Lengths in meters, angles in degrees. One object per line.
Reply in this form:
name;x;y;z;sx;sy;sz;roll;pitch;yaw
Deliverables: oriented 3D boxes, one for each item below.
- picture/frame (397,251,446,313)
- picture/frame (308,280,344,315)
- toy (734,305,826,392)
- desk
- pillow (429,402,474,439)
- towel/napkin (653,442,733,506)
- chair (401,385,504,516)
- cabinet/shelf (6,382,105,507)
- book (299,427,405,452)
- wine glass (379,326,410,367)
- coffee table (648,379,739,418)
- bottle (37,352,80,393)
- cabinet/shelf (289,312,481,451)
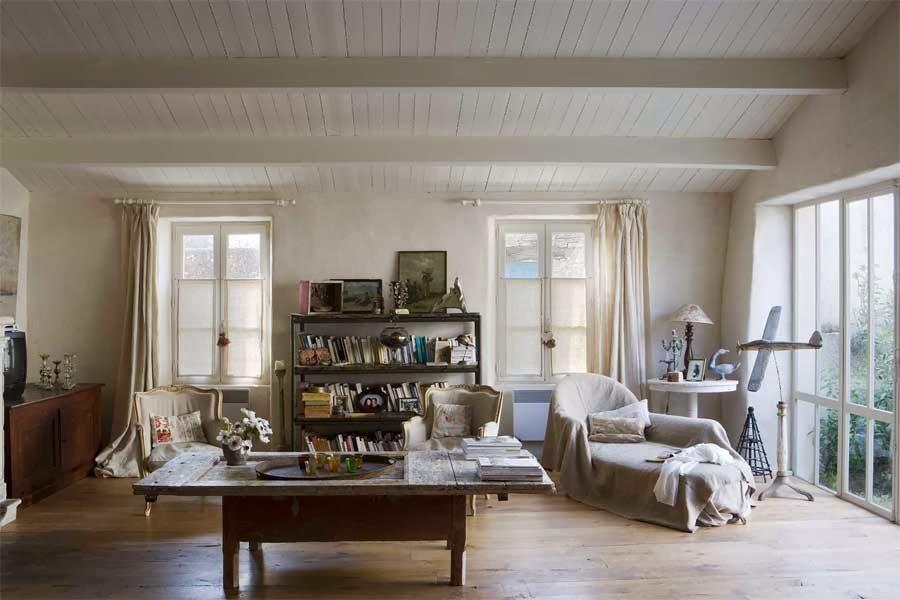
picture/frame;-0.350;-0.187;8.158;0.797;0.947;0.070;1;3;-2
picture/frame;-1.415;0.028;8.124;0.510;0.452;0.339;1;-6;-9
toy;3.549;0.529;7.492;0.900;1.163;0.346;1;-40;38
desk;-0.902;1.786;5.686;2.972;0.852;0.794;0;12;-2
pillow;0.018;1.255;7.121;0.360;0.294;0.126;1;-24;1
towel/napkin;2.237;1.620;6.524;0.806;0.462;0.348;-6;13;-27
chair;0.023;1.487;7.353;1.195;1.437;1.120;-5;-17;19
cabinet/shelf;-4.117;1.469;7.201;0.926;1.057;1.654;-1;-1;-3
book;-1.111;1.590;7.880;1.135;0.183;0.322;0;11;-1
wine glass;-0.623;0.512;7.928;0.409;0.490;0.390;0;-6;-1
coffee table;2.733;1.027;7.914;0.694;0.660;0.651;0;-6;7
bottle;-4.457;0.822;7.838;0.428;0.346;0.149;1;-4;-23
cabinet/shelf;-0.758;0.958;7.786;1.745;1.405;0.529;0;0;-2
